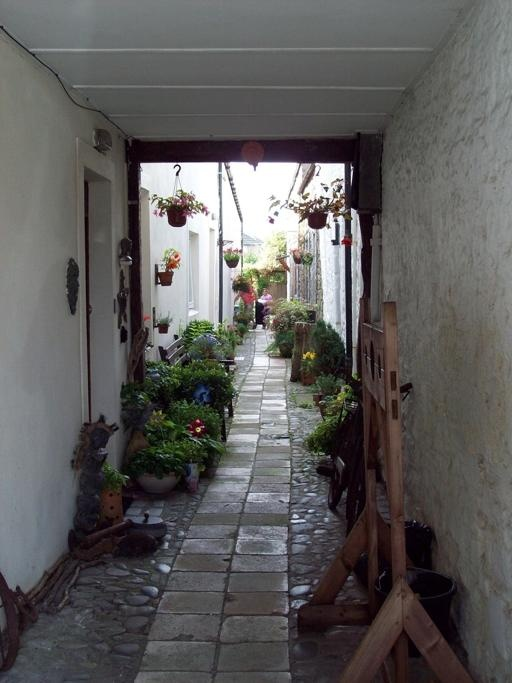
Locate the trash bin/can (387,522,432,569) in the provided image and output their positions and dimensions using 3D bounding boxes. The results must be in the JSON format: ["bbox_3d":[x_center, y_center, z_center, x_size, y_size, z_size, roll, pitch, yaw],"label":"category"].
[{"bbox_3d":[0.837,1.055,2.636,0.152,0.214,0.149,1,1,29],"label":"trash bin/can"}]

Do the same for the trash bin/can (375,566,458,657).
[{"bbox_3d":[0.644,1.014,2.129,0.310,0.328,0.376,-1,-6,0],"label":"trash bin/can"}]

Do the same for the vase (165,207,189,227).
[{"bbox_3d":[-0.834,-1.313,5.482,0.179,0.158,0.181,-1,-1,0],"label":"vase"}]

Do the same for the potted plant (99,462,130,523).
[{"bbox_3d":[-0.963,1.038,3.602,0.258,0.384,0.302,2,1,-2],"label":"potted plant"}]

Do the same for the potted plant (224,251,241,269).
[{"bbox_3d":[-0.632,-2.201,13.568,0.410,0.483,0.444,0,-2,0],"label":"potted plant"}]

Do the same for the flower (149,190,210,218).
[{"bbox_3d":[-0.793,-1.472,5.720,0.385,0.321,0.660,20,10,12],"label":"flower"}]

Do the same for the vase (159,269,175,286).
[{"bbox_3d":[-1.086,-0.780,6.294,0.162,0.139,0.160,4,-6,-44],"label":"vase"}]
